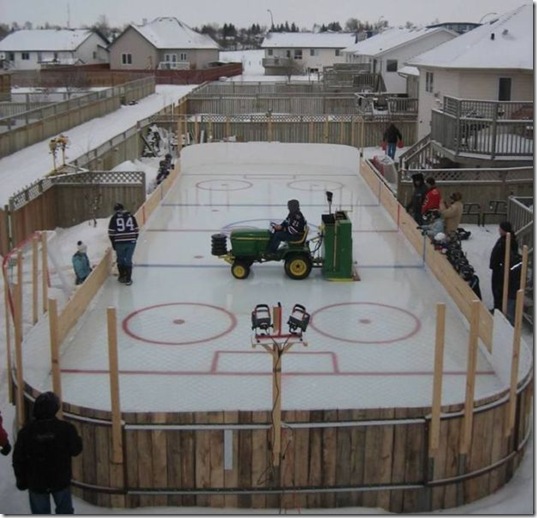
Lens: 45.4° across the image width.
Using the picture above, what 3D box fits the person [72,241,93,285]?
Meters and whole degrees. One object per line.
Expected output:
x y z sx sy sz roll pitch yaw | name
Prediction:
-3.607 0.106 12.403 0.373 1.068 0.306 -25 54 -35 | person

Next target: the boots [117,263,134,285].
-2.643 0.255 11.768 0.287 0.491 0.248 -4 12 -18 | boots

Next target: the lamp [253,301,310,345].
0.123 0.601 6.156 0.553 0.506 0.440 1 14 2 | lamp

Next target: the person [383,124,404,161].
4.991 -4.729 25.487 0.566 1.712 0.372 0 39 4 | person

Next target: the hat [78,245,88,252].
-3.507 -0.171 12.123 0.110 0.141 0.128 -6 19 -16 | hat

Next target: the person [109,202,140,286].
-2.599 -0.230 11.586 0.505 1.464 0.606 -4 13 -16 | person

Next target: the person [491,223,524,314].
3.860 0.112 10.538 0.314 1.647 0.405 -26 30 -38 | person

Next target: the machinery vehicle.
0.289 -0.381 12.313 2.450 1.934 1.631 1 -4 -3 | machinery vehicle

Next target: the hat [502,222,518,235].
3.684 -0.432 9.831 0.134 0.219 0.609 3 16 13 | hat

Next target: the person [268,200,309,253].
0.360 -0.557 11.555 0.696 1.055 0.429 1 12 3 | person
